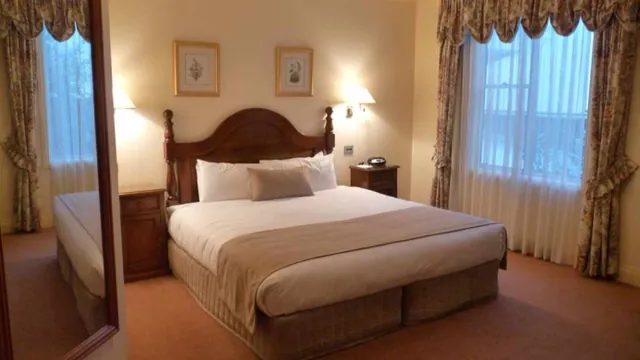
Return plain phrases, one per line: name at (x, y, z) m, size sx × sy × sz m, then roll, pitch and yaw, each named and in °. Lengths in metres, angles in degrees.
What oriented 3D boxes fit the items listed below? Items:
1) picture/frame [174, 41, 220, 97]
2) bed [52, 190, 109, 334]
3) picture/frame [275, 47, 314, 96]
picture/frame at (-1.691, -1.495, 6.061) m, size 0.747 × 0.835 × 0.065 m, roll -5°, pitch 13°, yaw -28°
bed at (-1.827, 0.648, 3.471) m, size 0.078 × 1.135 × 0.381 m, roll 4°, pitch 14°, yaw 22°
picture/frame at (-0.411, -1.597, 6.619) m, size 0.739 × 0.815 × 0.069 m, roll -4°, pitch 11°, yaw -30°
